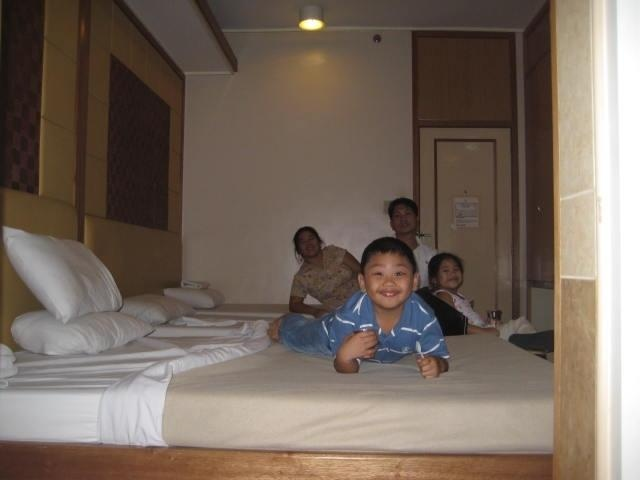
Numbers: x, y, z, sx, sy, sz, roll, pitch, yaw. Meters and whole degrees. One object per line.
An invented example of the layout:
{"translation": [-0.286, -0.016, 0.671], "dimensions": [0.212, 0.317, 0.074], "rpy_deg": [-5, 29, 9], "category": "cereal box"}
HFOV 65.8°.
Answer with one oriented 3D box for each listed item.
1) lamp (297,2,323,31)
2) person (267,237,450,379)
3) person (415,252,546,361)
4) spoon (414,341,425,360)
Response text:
{"translation": [-0.075, -1.848, 4.121], "dimensions": [0.197, 0.144, 0.196], "rpy_deg": [-2, 3, -27], "category": "lamp"}
{"translation": [0.181, 0.280, 2.061], "dimensions": [0.370, 0.378, 0.725], "rpy_deg": [-2, -5, -18], "category": "person"}
{"translation": [0.956, 0.384, 2.793], "dimensions": [0.758, 0.486, 0.370], "rpy_deg": [9, -2, 1], "category": "person"}
{"translation": [0.383, 0.430, 1.913], "dimensions": [0.022, 0.078, 0.067], "rpy_deg": [-8, -26, 4], "category": "spoon"}
